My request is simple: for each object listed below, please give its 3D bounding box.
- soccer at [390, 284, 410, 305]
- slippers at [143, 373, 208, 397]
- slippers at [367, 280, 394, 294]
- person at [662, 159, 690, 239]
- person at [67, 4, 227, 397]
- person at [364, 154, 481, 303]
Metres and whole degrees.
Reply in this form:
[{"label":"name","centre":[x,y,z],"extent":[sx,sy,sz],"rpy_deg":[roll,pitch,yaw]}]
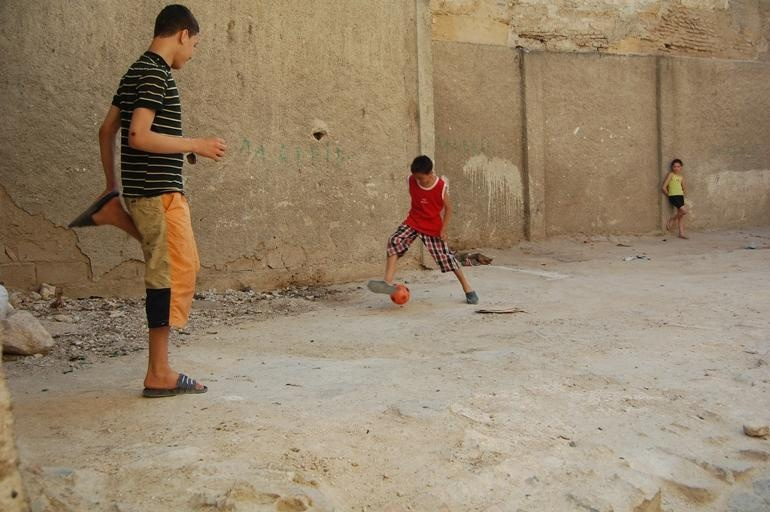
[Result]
[{"label":"soccer","centre":[0.144,0.366,6.875],"extent":[0.202,0.202,0.191],"rpy_deg":[2,2,-27]},{"label":"slippers","centre":[-1.354,0.843,4.577],"extent":[0.410,0.109,0.149],"rpy_deg":[-2,2,-13]},{"label":"slippers","centre":[-0.036,0.281,6.808],"extent":[0.239,0.108,0.109],"rpy_deg":[19,22,16]},{"label":"person","centre":[4.669,-0.973,11.354],"extent":[0.367,1.249,0.753],"rpy_deg":[-3,5,23]},{"label":"person","centre":[-1.469,-0.361,4.524],"extent":[0.874,2.518,0.532],"rpy_deg":[-7,5,-20]},{"label":"person","centre":[0.423,-0.267,6.986],"extent":[0.859,1.471,0.358],"rpy_deg":[-5,5,6]}]
